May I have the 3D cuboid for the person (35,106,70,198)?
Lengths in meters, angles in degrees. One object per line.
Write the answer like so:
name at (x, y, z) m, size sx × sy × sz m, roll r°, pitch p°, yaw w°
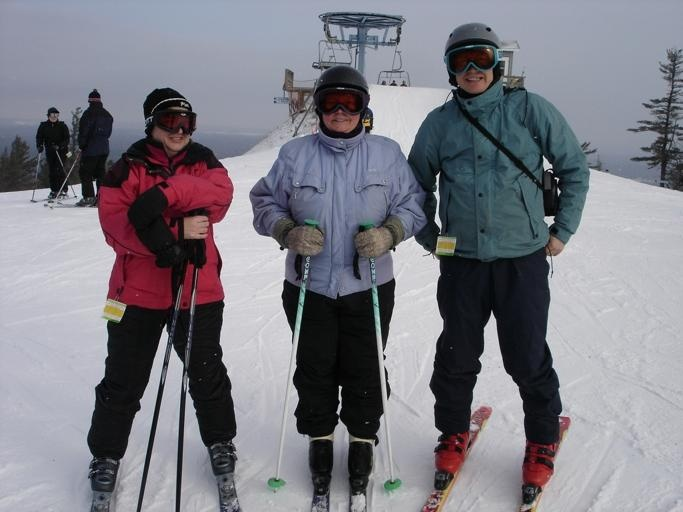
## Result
person at (-6.030, -2.164, 12.099) m, size 0.623 × 1.778 × 0.486 m, roll -7°, pitch 15°, yaw -29°

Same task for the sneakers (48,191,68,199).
sneakers at (-5.933, -1.250, 12.039) m, size 0.206 × 0.128 × 0.333 m, roll -4°, pitch 8°, yaw -15°

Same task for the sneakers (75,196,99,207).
sneakers at (-5.001, -1.064, 11.406) m, size 0.461 × 0.223 × 0.162 m, roll 3°, pitch 12°, yaw -12°

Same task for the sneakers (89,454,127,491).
sneakers at (-1.533, 1.415, 3.722) m, size 0.119 × 0.141 × 0.292 m, roll 7°, pitch 6°, yaw -23°

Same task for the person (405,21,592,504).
person at (1.021, -0.018, 3.877) m, size 1.108 × 2.945 × 0.611 m, roll 2°, pitch 13°, yaw 7°

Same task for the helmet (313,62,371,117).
helmet at (0.020, -1.085, 3.983) m, size 0.390 × 0.412 × 0.503 m, roll 0°, pitch 11°, yaw 4°

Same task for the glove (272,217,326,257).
glove at (-0.276, -0.128, 3.778) m, size 0.308 × 0.199 × 0.125 m, roll 26°, pitch 17°, yaw 30°

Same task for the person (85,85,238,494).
person at (-1.188, 0.267, 3.778) m, size 0.977 × 2.627 × 0.636 m, roll -3°, pitch 14°, yaw -12°

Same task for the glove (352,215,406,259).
glove at (0.249, -0.109, 3.802) m, size 0.370 × 0.276 × 0.194 m, roll -9°, pitch 17°, yaw -33°
